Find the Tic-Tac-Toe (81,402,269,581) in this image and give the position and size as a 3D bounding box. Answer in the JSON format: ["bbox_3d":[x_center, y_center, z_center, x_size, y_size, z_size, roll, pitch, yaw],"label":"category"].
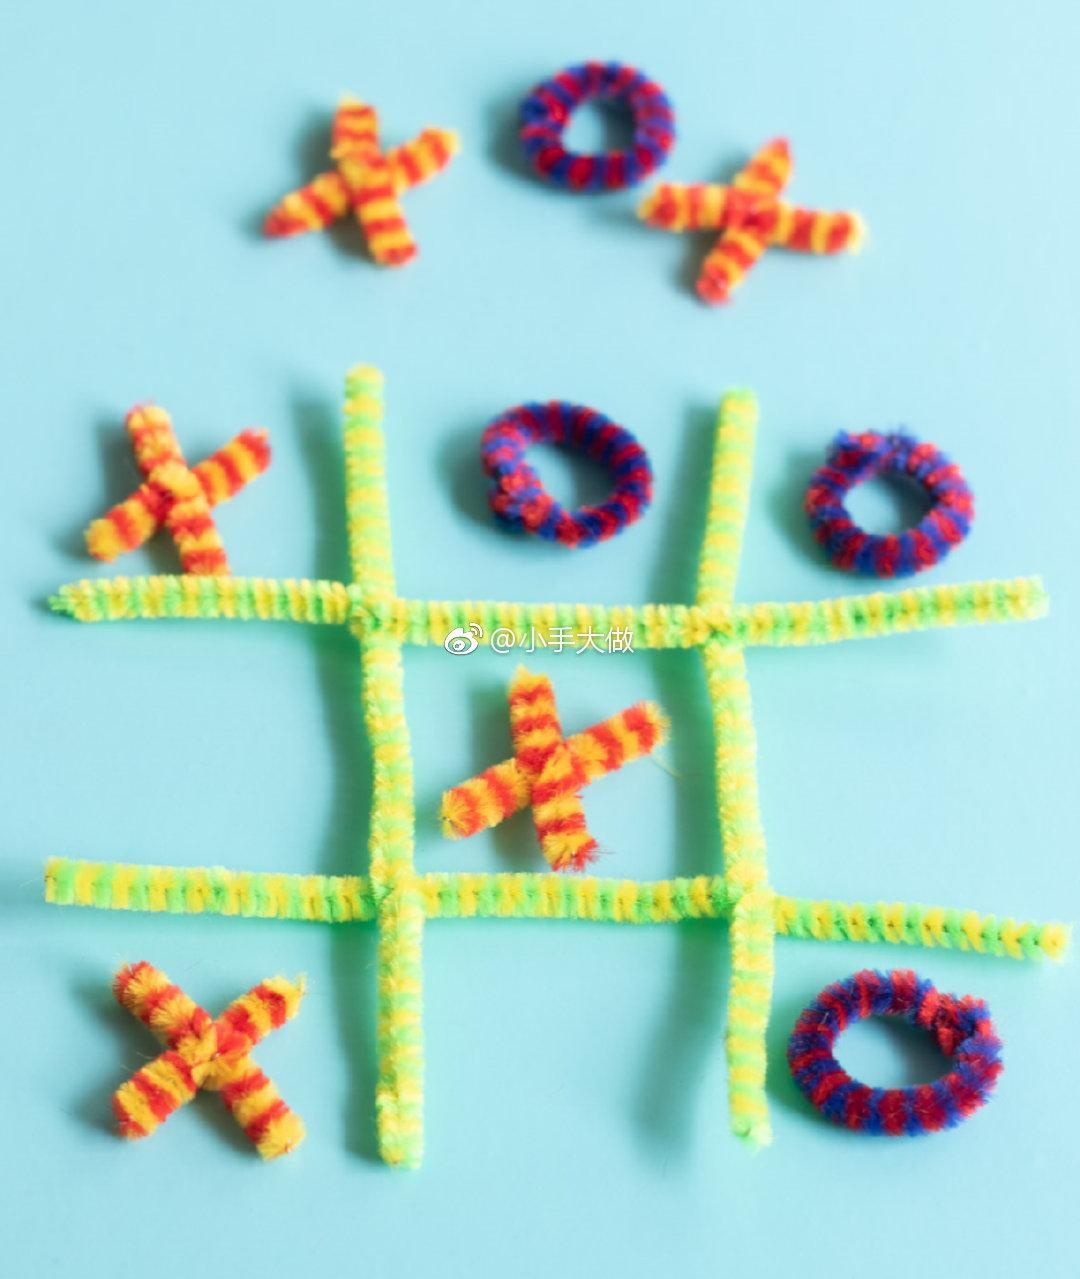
[{"bbox_3d":[-0.350,-0.113,1.897,0.152,0.057,0.180,-31,96,-30],"label":"Tic-Tac-Toe"}]

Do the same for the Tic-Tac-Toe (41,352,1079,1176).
[{"bbox_3d":[0.003,0.102,1.851,0.991,0.325,0.682,7,59,-7],"label":"Tic-Tac-Toe"}]

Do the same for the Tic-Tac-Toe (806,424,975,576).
[{"bbox_3d":[0.349,-0.135,1.916,0.134,0.050,0.152,-37,70,-14],"label":"Tic-Tac-Toe"}]

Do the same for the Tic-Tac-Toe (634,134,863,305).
[{"bbox_3d":[0.217,-0.465,1.994,0.201,0.243,0.083,-8,101,-24],"label":"Tic-Tac-Toe"}]

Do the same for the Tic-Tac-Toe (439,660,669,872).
[{"bbox_3d":[0.013,0.121,1.846,0.205,0.067,0.174,16,59,-1],"label":"Tic-Tac-Toe"}]

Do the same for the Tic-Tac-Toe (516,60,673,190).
[{"bbox_3d":[0.058,-0.530,1.989,0.154,0.072,0.112,6,58,-6],"label":"Tic-Tac-Toe"}]
